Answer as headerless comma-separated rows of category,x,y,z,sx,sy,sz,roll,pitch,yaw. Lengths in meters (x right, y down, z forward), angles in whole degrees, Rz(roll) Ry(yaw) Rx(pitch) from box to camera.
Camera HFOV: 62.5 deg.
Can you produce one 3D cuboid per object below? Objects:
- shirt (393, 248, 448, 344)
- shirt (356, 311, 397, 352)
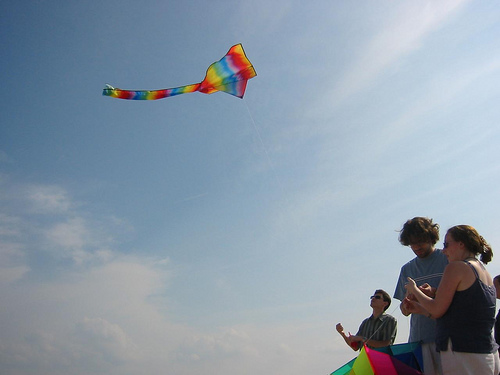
shirt,1.663,1.108,3.945,0.603,0.892,0.302,-4,-29,33
shirt,1.401,1.613,4.605,0.442,0.455,0.263,-18,-42,41
